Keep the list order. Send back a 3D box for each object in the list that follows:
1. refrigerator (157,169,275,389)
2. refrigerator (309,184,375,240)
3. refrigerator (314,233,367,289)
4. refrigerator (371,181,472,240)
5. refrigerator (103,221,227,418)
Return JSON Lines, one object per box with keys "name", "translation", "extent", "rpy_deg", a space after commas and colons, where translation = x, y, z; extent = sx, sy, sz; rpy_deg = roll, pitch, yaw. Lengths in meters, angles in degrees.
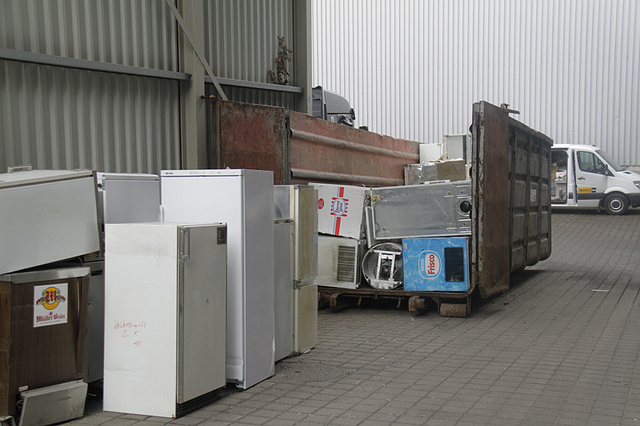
{"name": "refrigerator", "translation": [-1.444, 0.821, 9.335], "extent": [1.199, 3.176, 1.383], "rpy_deg": [-1, 1, -40]}
{"name": "refrigerator", "translation": [0.437, -0.058, 12.735], "extent": [1.342, 1.213, 0.822], "rpy_deg": [2, -2, 23]}
{"name": "refrigerator", "translation": [0.366, 0.877, 12.815], "extent": [1.048, 0.980, 0.648], "rpy_deg": [5, 10, 27]}
{"name": "refrigerator", "translation": [1.830, -0.050, 12.116], "extent": [1.417, 0.855, 0.956], "rpy_deg": [0, 1, 22]}
{"name": "refrigerator", "translation": [-2.057, 1.277, 8.729], "extent": [1.031, 2.569, 1.328], "rpy_deg": [-1, 1, -28]}
